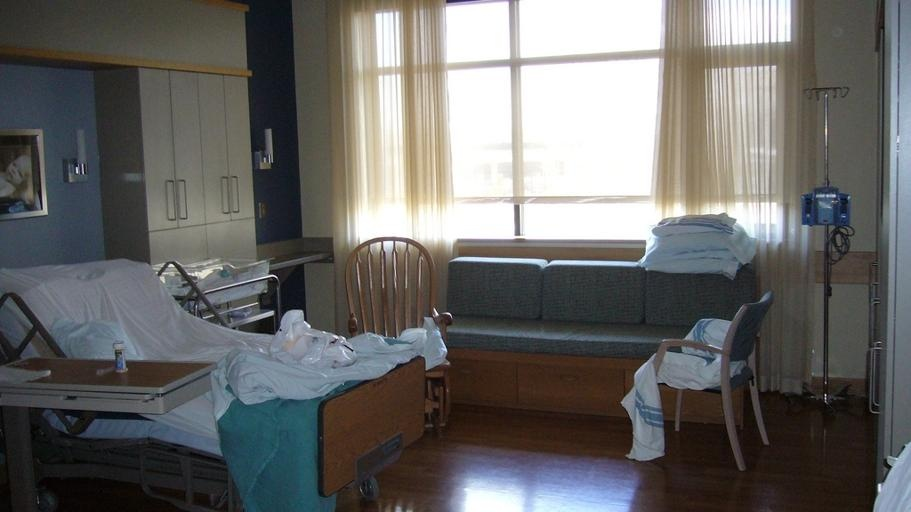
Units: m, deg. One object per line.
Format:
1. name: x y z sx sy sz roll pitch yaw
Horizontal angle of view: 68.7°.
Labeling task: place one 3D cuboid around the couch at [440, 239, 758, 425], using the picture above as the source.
1. couch: 1.386 0.691 6.023 2.875 1.386 1.202 1 3 38

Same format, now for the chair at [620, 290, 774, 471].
1. chair: 1.856 0.894 5.489 1.308 1.541 1.213 1 0 29

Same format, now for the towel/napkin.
1. towel/napkin: 1.742 0.961 5.373 1.027 1.250 1.041 0 0 29

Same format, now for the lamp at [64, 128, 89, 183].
1. lamp: -2.970 -0.784 5.234 0.204 0.405 0.128 0 10 16
